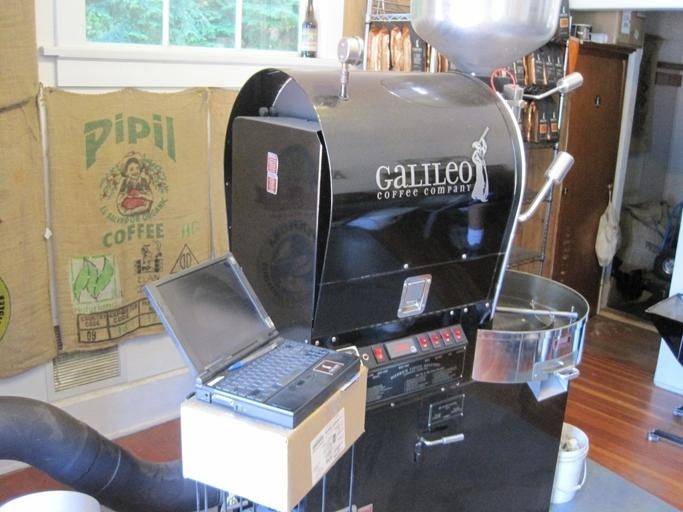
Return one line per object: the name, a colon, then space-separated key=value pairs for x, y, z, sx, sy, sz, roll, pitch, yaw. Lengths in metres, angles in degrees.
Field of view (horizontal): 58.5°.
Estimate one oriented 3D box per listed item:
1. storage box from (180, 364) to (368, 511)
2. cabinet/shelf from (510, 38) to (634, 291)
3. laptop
storage box: x=-0.203 y=0.373 z=1.684 sx=0.341 sy=0.259 sz=0.508 roll=7 pitch=15 yaw=26
cabinet/shelf: x=1.738 y=-0.619 z=4.716 sx=0.514 sy=2.044 sz=1.477 roll=11 pitch=23 yaw=34
laptop: x=-0.255 y=0.222 z=1.747 sx=0.520 sy=0.318 sz=0.416 roll=7 pitch=14 yaw=30
